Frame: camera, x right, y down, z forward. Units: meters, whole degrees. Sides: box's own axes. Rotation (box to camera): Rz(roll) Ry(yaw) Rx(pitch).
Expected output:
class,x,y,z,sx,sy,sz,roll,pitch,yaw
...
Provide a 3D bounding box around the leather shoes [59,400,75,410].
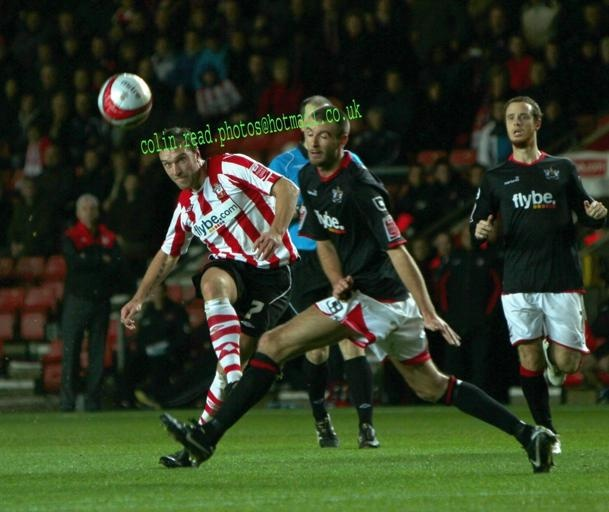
class,x,y,z,sx,sy,sz,roll,pitch,yaw
leather shoes,-2.608,1.630,11.555,0.100,0.123,0.106,-1,2,-10

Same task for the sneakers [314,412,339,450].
class,x,y,z,sx,sy,sz,roll,pitch,yaw
sneakers,0.170,1.453,8.834,0.164,0.241,0.281,-12,10,-2

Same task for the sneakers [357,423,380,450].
class,x,y,z,sx,sy,sz,roll,pitch,yaw
sneakers,0.513,1.475,8.650,0.104,0.121,0.245,1,-20,-3

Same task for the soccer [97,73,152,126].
class,x,y,z,sx,sy,sz,roll,pitch,yaw
soccer,-1.589,-1.371,9.286,0.446,0.466,0.300,-15,10,-11

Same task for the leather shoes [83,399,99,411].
class,x,y,z,sx,sy,sz,roll,pitch,yaw
leather shoes,-2.373,1.646,11.703,0.126,0.144,0.130,0,7,-9
